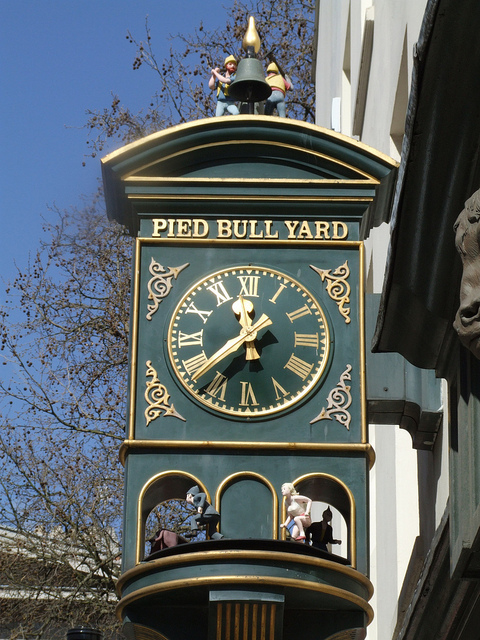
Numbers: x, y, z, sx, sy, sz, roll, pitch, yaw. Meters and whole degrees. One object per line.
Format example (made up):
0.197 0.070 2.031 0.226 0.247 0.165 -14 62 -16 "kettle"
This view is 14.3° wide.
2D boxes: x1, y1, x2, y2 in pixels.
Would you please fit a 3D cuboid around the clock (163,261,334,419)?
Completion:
0.085 0.241 16.071 1.086 1.316 0.127 3 -32 -2 "clock"
